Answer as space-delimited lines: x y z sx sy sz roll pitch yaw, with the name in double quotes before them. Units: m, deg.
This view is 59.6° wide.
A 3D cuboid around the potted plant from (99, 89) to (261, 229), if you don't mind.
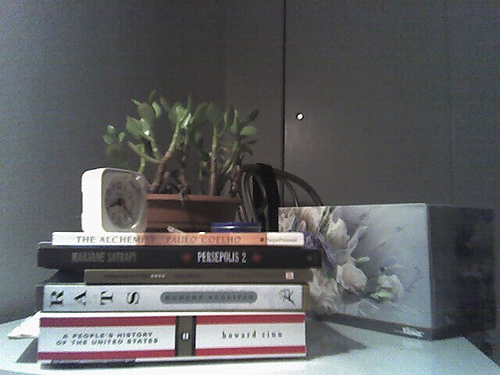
"potted plant" -0.151 -0.079 1.121 0.398 0.350 0.345 0 -5 10
